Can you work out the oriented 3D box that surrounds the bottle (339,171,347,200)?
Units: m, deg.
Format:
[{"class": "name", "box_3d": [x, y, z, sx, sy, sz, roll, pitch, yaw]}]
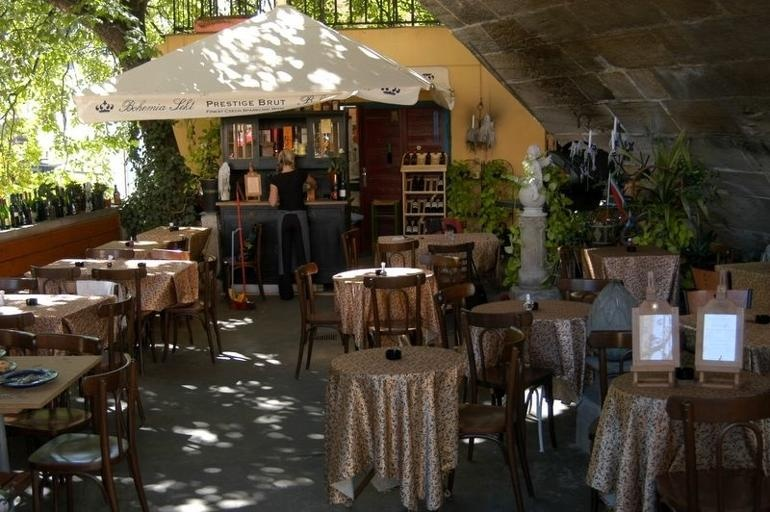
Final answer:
[{"class": "bottle", "box_3d": [-0.663, -1.105, 10.046, 0.132, 0.424, 0.179, -1, 2, -4]}]

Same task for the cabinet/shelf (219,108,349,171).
[{"class": "cabinet/shelf", "box_3d": [-1.592, -1.849, 10.328, 2.055, 0.892, 0.302, -1, 1, 5]}]

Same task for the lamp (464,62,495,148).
[{"class": "lamp", "box_3d": [1.774, -2.751, 12.020, 0.548, 1.559, 0.252, -1, 1, 9]}]

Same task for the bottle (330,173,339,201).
[{"class": "bottle", "box_3d": [-0.780, -1.098, 10.058, 0.113, 0.432, 0.206, -1, 2, -5]}]

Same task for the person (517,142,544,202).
[{"class": "person", "box_3d": [1.837, -1.007, 8.072, 0.350, 0.768, 0.336, -1, 2, 12]}]

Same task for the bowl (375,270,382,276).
[{"class": "bowl", "box_3d": [-0.062, 0.166, 6.530, 0.044, 0.048, 0.055, 0, -3, -27]}]
